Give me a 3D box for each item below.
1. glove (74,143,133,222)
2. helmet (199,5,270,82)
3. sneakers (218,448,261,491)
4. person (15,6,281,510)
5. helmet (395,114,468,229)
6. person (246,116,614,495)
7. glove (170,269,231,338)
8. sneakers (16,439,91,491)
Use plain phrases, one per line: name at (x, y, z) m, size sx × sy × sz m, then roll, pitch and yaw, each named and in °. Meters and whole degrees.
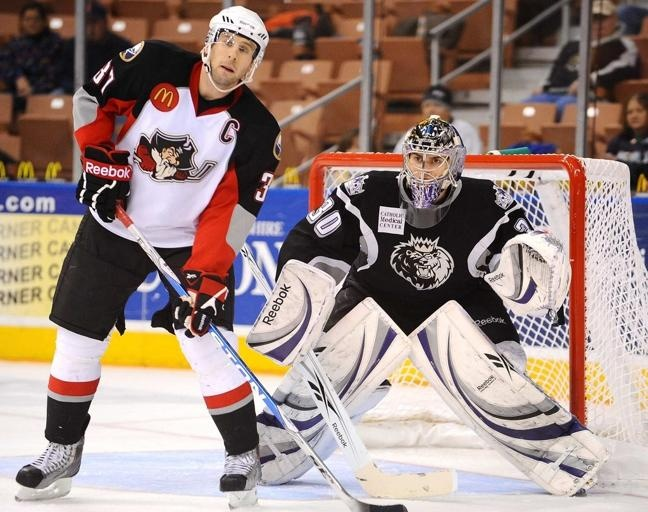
glove at (-0.727, -0.243, 3.228) m, size 0.188 × 0.239 × 0.101 m, roll 5°, pitch 5°, yaw 18°
helmet at (-0.299, -0.709, 3.271) m, size 0.218 × 0.273 × 0.152 m, roll 1°, pitch 5°, yaw -8°
sneakers at (-0.275, 0.698, 3.218) m, size 0.113 × 0.117 × 0.138 m, roll 2°, pitch 4°, yaw 3°
person at (-0.568, -0.015, 3.281) m, size 0.799 × 1.661 × 0.333 m, roll 2°, pitch 5°, yaw 5°
helmet at (0.385, -0.339, 3.555) m, size 0.246 × 0.324 × 0.343 m, roll 10°, pitch 26°, yaw 21°
person at (0.433, 0.222, 3.647) m, size 1.612 × 1.347 × 0.890 m, roll 1°, pitch 8°, yaw 7°
glove at (-0.389, 0.148, 3.158) m, size 0.213 × 0.194 × 0.074 m, roll 14°, pitch 1°, yaw -21°
sneakers at (-0.909, 0.705, 3.288) m, size 0.080 × 0.206 × 0.253 m, roll 18°, pitch 9°, yaw 32°
